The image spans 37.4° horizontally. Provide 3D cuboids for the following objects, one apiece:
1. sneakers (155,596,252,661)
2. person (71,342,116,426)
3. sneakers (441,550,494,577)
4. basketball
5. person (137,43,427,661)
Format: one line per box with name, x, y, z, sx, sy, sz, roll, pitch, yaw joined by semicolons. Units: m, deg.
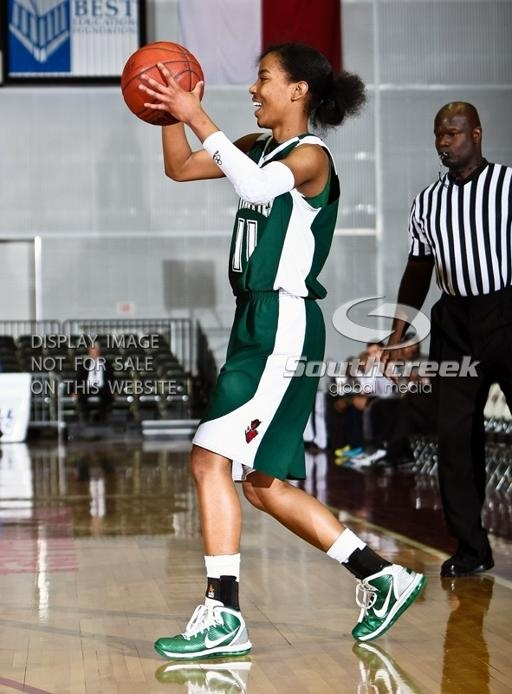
sneakers;-0.112;0.616;1.640;0.269;0.133;0.083;2;-10;-8
person;-2.414;0.567;11.353;0.547;1.192;1.348;-3;3;-10
sneakers;0.687;0.719;2.511;0.182;0.063;0.066;3;-7;-19
basketball;-0.209;-0.602;1.695;0.176;0.213;0.192;-2;3;-8
person;0.025;0.002;1.764;0.650;1.413;0.414;-5;4;-39
